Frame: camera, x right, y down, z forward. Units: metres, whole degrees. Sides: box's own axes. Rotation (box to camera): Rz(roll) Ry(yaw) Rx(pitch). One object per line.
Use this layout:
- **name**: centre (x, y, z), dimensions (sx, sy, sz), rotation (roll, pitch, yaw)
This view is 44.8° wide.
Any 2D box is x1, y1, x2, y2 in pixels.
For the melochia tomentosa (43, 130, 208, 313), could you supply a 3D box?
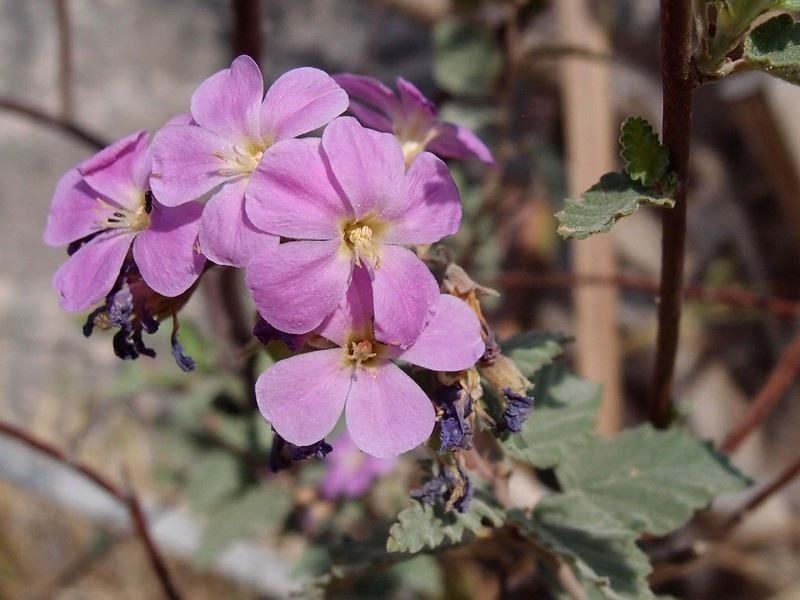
- **melochia tomentosa**: centre (-0.514, -0.135, 1.922), dimensions (0.327, 0.359, 0.132), rotation (-22, -20, 32)
